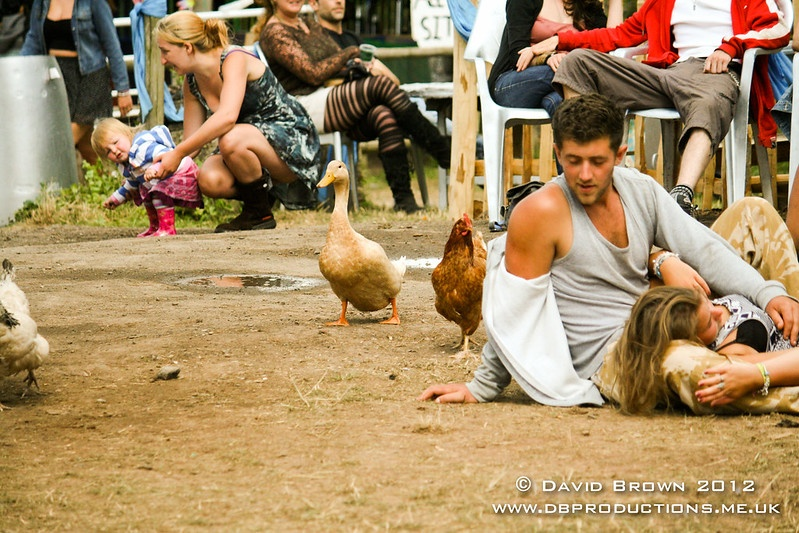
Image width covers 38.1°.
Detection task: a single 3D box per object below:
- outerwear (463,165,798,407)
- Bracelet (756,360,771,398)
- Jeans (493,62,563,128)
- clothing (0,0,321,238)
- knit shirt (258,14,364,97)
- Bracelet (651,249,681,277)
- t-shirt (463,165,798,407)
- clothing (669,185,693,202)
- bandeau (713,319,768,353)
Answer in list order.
[{"bbox_3d":[1.360,0.129,6.841,1.723,1.145,1.268,-2,19,26],"label":"outerwear"},{"bbox_3d":[2.047,0.645,6.500,0.061,0.143,0.124,3,2,-3],"label":"Bracelet"},{"bbox_3d":[1.049,-1.424,9.471,0.352,0.301,0.601,8,9,-35],"label":"Jeans"},{"bbox_3d":[-2.063,-1.467,11.614,2.311,2.674,1.749,-3,11,-10],"label":"clothing"},{"bbox_3d":[-0.931,-2.113,12.146,1.016,0.927,0.892,5,22,13],"label":"knit shirt"},{"bbox_3d":[1.552,-0.027,6.757,0.138,0.145,0.062,6,36,-12],"label":"Bracelet"},{"bbox_3d":[1.277,0.102,6.939,2.126,1.364,1.316,-7,12,-9],"label":"t-shirt"},{"bbox_3d":[2.032,-0.522,8.276,0.177,0.077,0.131,10,7,37],"label":"clothing"},{"bbox_3d":[1.988,0.391,6.663,0.209,0.090,0.166,-20,9,0],"label":"bandeau"}]
